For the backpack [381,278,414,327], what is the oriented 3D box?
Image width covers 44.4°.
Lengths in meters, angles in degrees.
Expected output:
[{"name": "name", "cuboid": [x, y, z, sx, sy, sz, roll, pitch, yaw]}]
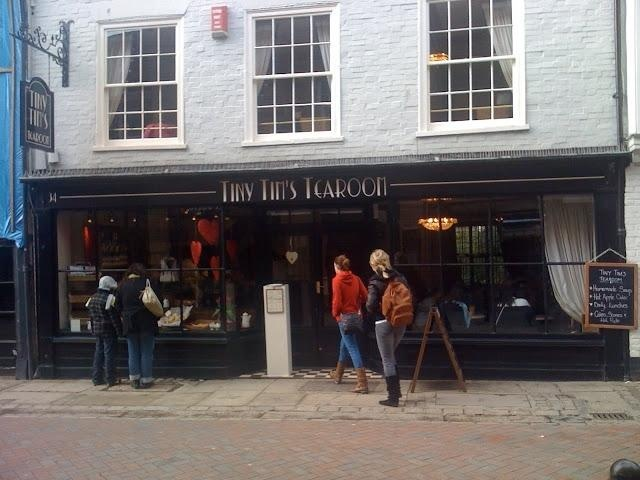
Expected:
[{"name": "backpack", "cuboid": [1.122, 0.917, 11.550, 0.516, 0.647, 0.398, -3, 4, -34]}]

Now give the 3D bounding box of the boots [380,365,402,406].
[{"name": "boots", "cuboid": [1.028, 2.121, 11.548, 0.313, 0.553, 0.424, -1, 6, 7]}]

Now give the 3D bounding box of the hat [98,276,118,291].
[{"name": "hat", "cuboid": [-3.528, 0.726, 13.194, 0.205, 0.230, 0.280, 4, 11, 25]}]

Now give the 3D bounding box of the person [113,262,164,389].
[{"name": "person", "cuboid": [-2.932, 1.402, 12.886, 0.730, 1.990, 0.507, -2, 6, -5]}]

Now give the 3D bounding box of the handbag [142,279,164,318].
[{"name": "handbag", "cuboid": [-2.738, 0.971, 12.842, 0.218, 0.511, 0.493, -19, -33, -6]}]

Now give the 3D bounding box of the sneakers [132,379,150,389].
[{"name": "sneakers", "cuboid": [-2.856, 2.348, 12.800, 0.358, 0.147, 0.119, -2, -4, 3]}]

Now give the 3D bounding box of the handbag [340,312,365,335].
[{"name": "handbag", "cuboid": [0.474, 1.273, 12.129, 0.418, 0.287, 0.271, -5, 41, 1]}]

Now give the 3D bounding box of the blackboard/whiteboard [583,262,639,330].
[{"name": "blackboard/whiteboard", "cuboid": [4.546, 0.850, 12.215, 1.073, 1.434, 0.196, 1, 1, 17]}]
